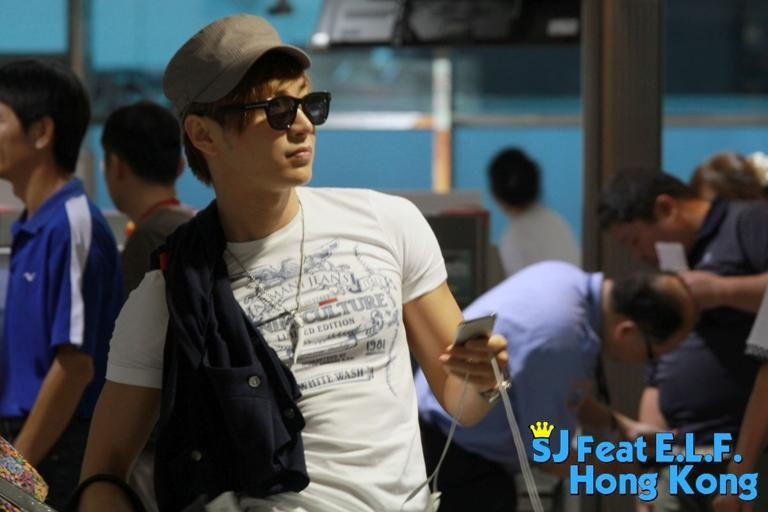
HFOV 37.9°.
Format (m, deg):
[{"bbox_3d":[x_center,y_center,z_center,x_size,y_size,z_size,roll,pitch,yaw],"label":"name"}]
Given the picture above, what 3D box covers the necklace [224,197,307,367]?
[{"bbox_3d":[-0.388,0.102,3.635,0.403,0.443,0.097,21,-29,-35],"label":"necklace"}]
